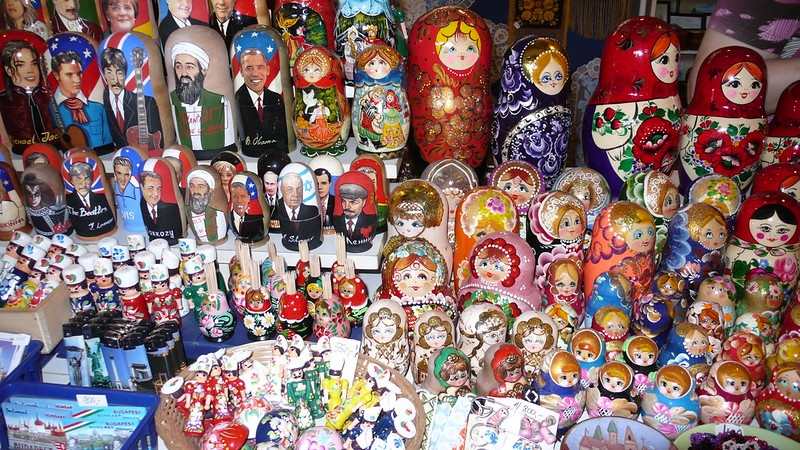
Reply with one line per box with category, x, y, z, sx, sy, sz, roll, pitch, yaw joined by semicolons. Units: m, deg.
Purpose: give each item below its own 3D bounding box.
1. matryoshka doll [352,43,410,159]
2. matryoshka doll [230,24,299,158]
matryoshka doll;-0.126;-0.752;3.736;0.364;0.685;0.197;0;2;-1
matryoshka doll;-0.844;-0.803;3.689;0.380;0.788;0.233;0;2;-11
